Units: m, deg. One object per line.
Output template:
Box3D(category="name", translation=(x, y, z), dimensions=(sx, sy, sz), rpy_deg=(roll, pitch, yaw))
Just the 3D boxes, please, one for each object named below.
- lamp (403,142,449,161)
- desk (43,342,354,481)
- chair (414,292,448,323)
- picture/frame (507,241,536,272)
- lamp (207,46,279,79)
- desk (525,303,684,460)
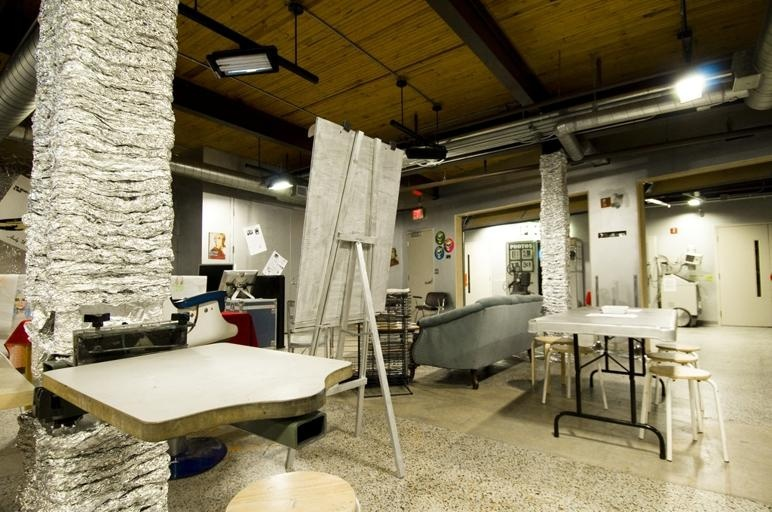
Box3D(category="lamp", translation=(0.595, -1.499, 7.496), dimensions=(0.396, 0.119, 0.364), rpy_deg=(0, 0, -29))
Box3D(category="desk", translation=(-1.104, 0.798, 3.091), dimensions=(1.774, 0.312, 0.669), rpy_deg=(-1, 9, -9))
Box3D(category="chair", translation=(1.031, 1.211, 12.150), dimensions=(0.840, 0.807, 0.795), rpy_deg=(-5, -10, 38))
Box3D(category="picture/frame", translation=(3.140, 0.020, 11.826), dimensions=(0.735, 0.647, 0.061), rpy_deg=(-10, -17, 43))
Box3D(category="lamp", translation=(-1.550, -2.124, 5.628), dimensions=(0.775, 0.266, 0.361), rpy_deg=(3, 9, 19))
Box3D(category="desk", translation=(2.438, 1.155, 5.426), dimensions=(1.402, 1.055, 2.529), rpy_deg=(-2, -1, 29))
